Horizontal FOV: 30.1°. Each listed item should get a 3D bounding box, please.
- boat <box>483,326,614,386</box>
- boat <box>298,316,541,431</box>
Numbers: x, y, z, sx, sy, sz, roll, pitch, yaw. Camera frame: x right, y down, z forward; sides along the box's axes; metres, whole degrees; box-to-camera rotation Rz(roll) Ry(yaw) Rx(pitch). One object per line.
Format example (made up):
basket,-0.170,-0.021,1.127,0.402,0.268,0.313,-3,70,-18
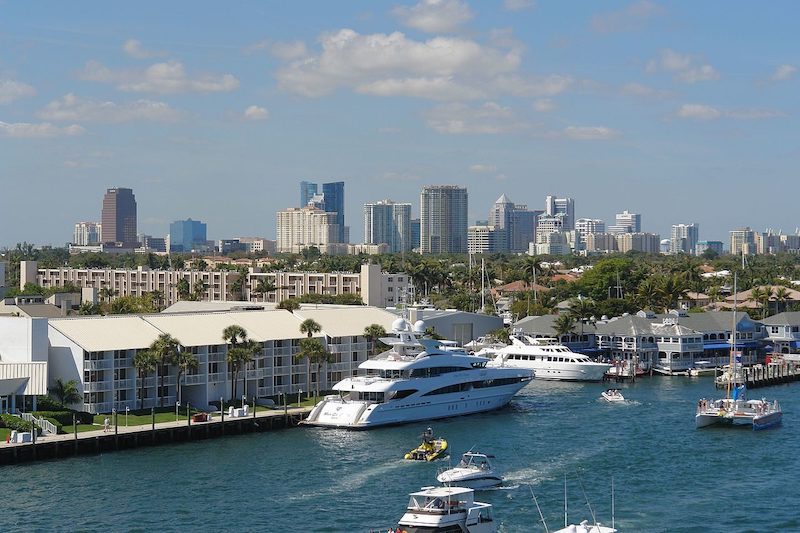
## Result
boat,15.158,12.509,192.212,22.990,6.802,5.682,1,3,22
boat,1.369,12.448,165.497,22.558,10.763,6.133,-1,-1,-34
